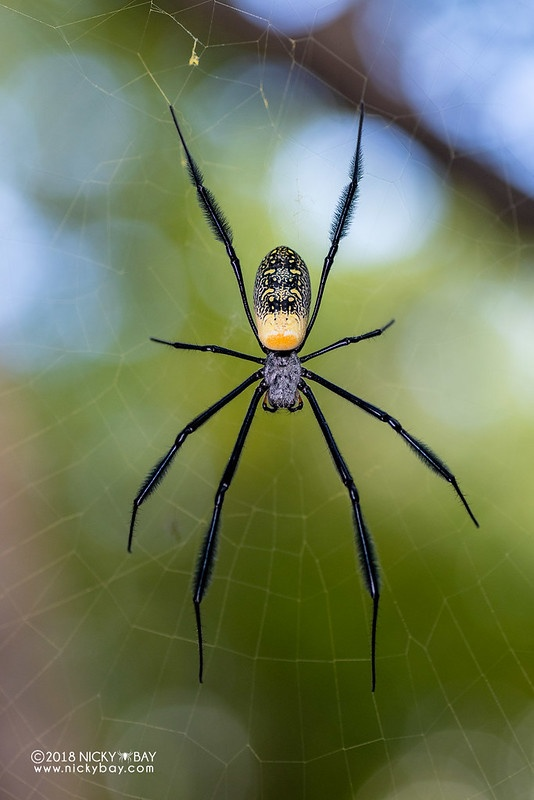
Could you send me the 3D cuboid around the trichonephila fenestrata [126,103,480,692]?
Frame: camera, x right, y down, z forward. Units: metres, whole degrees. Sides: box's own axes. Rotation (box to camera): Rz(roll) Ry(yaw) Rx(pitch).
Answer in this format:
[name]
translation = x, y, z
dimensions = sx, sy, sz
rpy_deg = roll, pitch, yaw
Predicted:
[trichonephila fenestrata]
translation = 0.122, -0.007, 2.112
dimensions = 1.064, 0.185, 1.824
rpy_deg = 1, -96, -3
